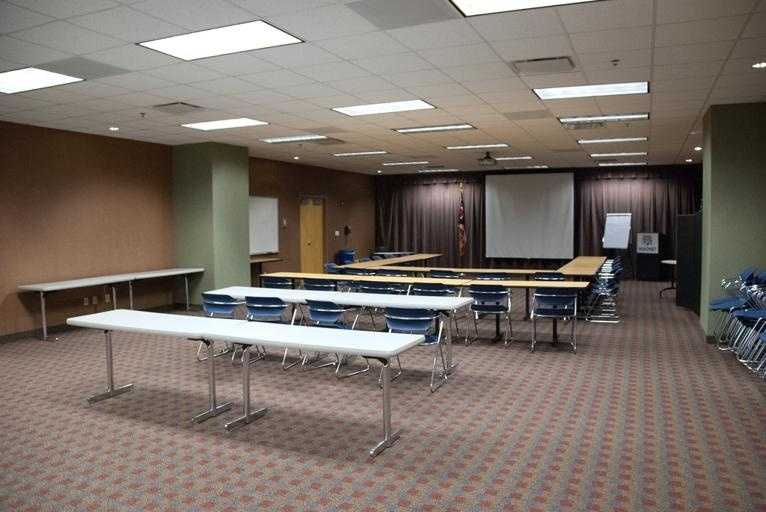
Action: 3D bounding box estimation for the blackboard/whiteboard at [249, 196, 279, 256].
[{"bbox_3d":[-3.296,-0.832,13.537,0.075,1.657,1.726,0,2,22],"label":"blackboard/whiteboard"}]

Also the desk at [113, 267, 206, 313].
[{"bbox_3d":[-4.725,0.442,10.630,0.883,0.809,1.722,4,7,26],"label":"desk"}]

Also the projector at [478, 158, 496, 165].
[{"bbox_3d":[2.769,-2.475,12.943,0.416,0.158,0.493,0,10,7],"label":"projector"}]

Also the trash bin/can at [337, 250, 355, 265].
[{"bbox_3d":[-1.191,0.053,16.652,0.489,0.603,0.497,4,5,39],"label":"trash bin/can"}]

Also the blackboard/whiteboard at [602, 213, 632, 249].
[{"bbox_3d":[7.555,-0.732,15.834,0.752,1.210,0.985,4,11,24],"label":"blackboard/whiteboard"}]
